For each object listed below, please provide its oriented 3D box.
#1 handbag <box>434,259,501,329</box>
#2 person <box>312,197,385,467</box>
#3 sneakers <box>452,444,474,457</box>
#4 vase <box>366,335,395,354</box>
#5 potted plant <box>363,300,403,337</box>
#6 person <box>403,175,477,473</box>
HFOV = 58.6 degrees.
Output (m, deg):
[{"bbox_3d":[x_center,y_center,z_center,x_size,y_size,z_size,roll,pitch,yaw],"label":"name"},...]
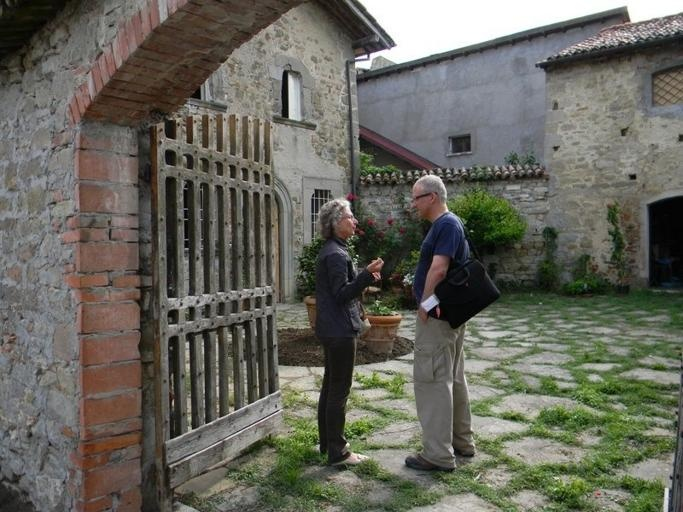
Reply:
[{"bbox_3d":[1.086,0.278,4.913,0.563,0.415,0.419,-34,-15,34],"label":"handbag"},{"bbox_3d":[0.035,0.607,5.051,0.495,2.105,0.583,-1,8,-3],"label":"person"},{"bbox_3d":[1.012,1.610,5.069,0.185,0.097,0.078,4,3,11],"label":"sneakers"},{"bbox_3d":[0.513,1.138,7.791,0.247,0.169,0.255,4,-7,-37],"label":"vase"},{"bbox_3d":[0.523,0.822,7.911,0.525,0.470,0.513,18,-22,-40],"label":"potted plant"},{"bbox_3d":[0.819,0.521,4.931,0.548,2.307,0.590,1,9,13],"label":"person"}]
